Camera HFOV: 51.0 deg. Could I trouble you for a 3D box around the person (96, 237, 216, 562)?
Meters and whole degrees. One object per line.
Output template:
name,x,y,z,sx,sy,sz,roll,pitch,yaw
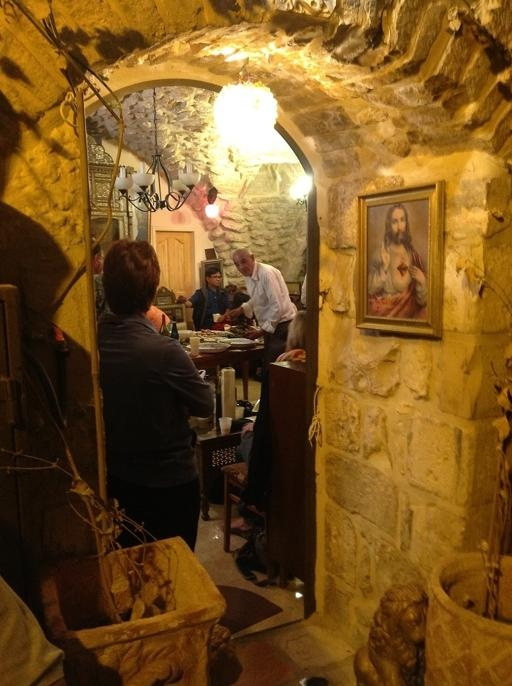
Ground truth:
person,-0.304,0.181,1.599,0.266,0.973,0.348,0,3,37

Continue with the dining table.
dining table,-0.272,0.339,4.136,0.586,0.432,0.881,-9,17,-31

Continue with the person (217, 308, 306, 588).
person,0.055,0.474,2.626,0.357,1.238,0.680,-2,2,-4

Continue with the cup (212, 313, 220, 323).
cup,-0.424,-0.272,5.784,0.079,0.060,0.078,0,1,0

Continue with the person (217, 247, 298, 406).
person,0.095,-0.119,5.013,0.620,1.500,0.574,-15,14,-26

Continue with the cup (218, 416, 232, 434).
cup,-0.164,0.460,3.030,0.075,0.078,0.076,0,6,0

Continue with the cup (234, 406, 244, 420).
cup,-0.102,0.418,3.234,0.052,0.039,0.052,-1,3,0

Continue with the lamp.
lamp,-0.970,-2.025,5.255,0.777,1.450,0.762,-6,7,-36
